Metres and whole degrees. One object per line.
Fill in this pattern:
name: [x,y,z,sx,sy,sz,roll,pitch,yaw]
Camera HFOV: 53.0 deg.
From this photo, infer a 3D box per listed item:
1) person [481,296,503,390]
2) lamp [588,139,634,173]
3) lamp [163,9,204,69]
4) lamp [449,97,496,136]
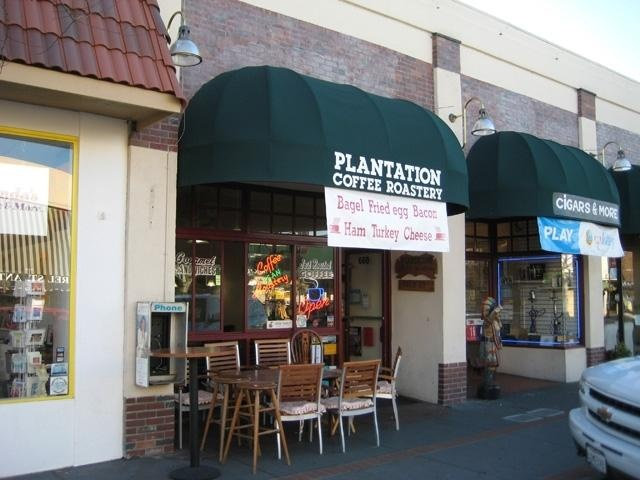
person: [3.570,2.210,13.363,0.383,1.983,0.754,1,1,15]
lamp: [7.464,-2.230,16.445,0.891,0.960,2.787,2,2,24]
lamp: [-2.101,-3.120,9.788,0.506,1.070,1.058,1,2,-14]
lamp: [3.106,-2.598,13.264,0.879,0.956,1.620,1,2,11]
